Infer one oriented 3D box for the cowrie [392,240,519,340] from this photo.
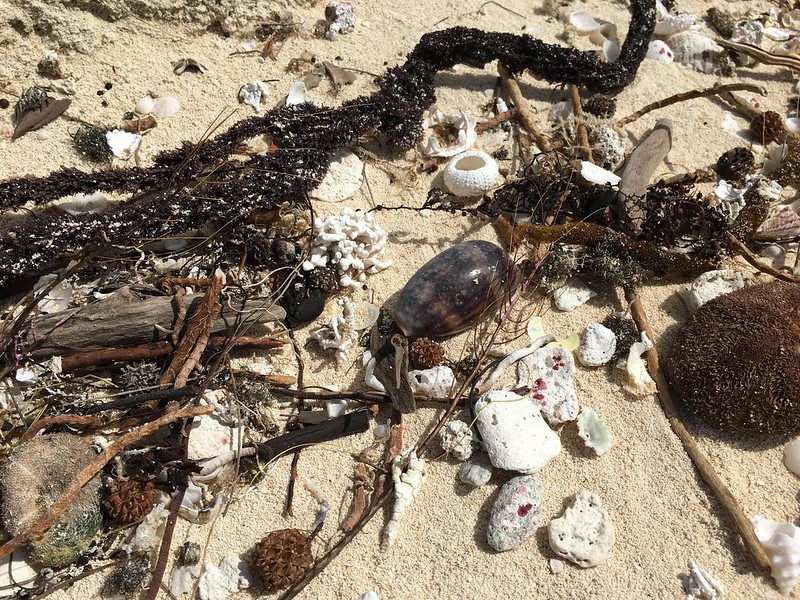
[{"bbox_3d":[0.353,-0.057,6.249,0.815,0.333,0.449,-29,69,-19],"label":"cowrie"}]
